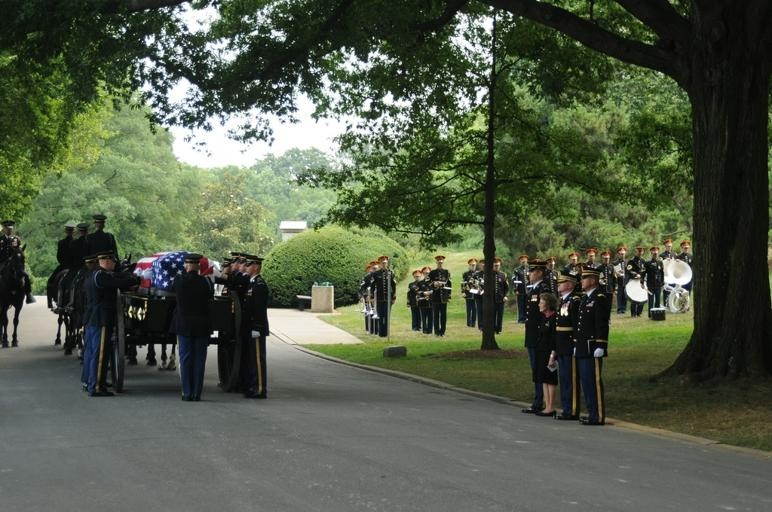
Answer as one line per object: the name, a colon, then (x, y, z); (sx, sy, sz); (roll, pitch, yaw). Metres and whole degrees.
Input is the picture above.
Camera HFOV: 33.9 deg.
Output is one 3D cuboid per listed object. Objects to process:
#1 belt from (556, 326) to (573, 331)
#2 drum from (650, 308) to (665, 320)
belt: (3.638, 1.479, 25.706); (0.345, 0.111, 0.075); (-4, -7, 38)
drum: (8.455, 1.805, 39.252); (0.457, 0.394, 0.451); (-1, -5, 7)
